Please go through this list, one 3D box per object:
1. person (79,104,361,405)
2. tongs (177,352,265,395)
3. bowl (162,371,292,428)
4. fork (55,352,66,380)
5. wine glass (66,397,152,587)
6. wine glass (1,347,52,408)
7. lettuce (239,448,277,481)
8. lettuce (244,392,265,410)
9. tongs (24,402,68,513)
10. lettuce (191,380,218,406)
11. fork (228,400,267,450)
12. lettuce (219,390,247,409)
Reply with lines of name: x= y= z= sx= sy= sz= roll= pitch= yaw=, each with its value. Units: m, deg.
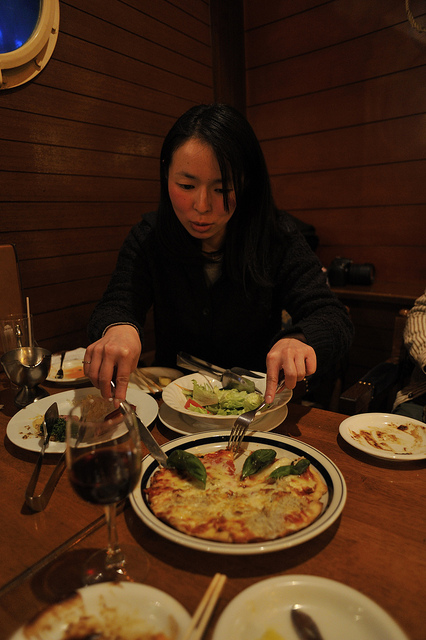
person: x=0.009 y=-0.245 z=1.703 sx=0.919 sy=0.990 sz=0.887 roll=-4 pitch=13 yaw=-12
tongs: x=0.025 y=0.167 z=1.398 sx=0.296 sy=0.073 sz=0.061 roll=21 pitch=24 yaw=-10
bowl: x=-0.004 y=0.215 z=1.245 sx=0.188 sy=0.050 sz=0.190 roll=0 pitch=11 yaw=0
fork: x=-0.549 y=0.161 z=1.661 sx=0.029 sy=0.019 sz=0.166 roll=1 pitch=24 yaw=-9
wine glass: x=-0.161 y=0.245 z=0.725 sx=0.104 sy=0.280 sz=0.356 roll=-4 pitch=12 yaw=-10
wine glass: x=-0.567 y=0.173 z=1.402 sx=0.140 sy=0.166 sz=0.093 roll=-8 pitch=14 yaw=-26
lettuce: x=0.091 y=0.289 z=0.918 sx=0.087 sy=0.013 sz=0.030 roll=-35 pitch=76 yaw=-20
lettuce: x=0.122 y=0.218 z=1.240 sx=0.034 sy=0.023 sz=0.040 roll=0 pitch=24 yaw=1
tongs: x=-0.375 y=0.285 z=1.012 sx=0.083 sy=0.087 sz=0.351 roll=-6 pitch=13 yaw=-19
lettuce: x=-0.022 y=0.206 z=1.264 sx=0.066 sy=0.052 sz=0.059 roll=-5 pitch=13 yaw=-14
fork: x=0.101 y=0.230 z=1.138 sx=0.036 sy=0.038 sz=0.277 roll=29 pitch=27 yaw=7
lettuce: x=0.055 y=0.215 z=1.239 sx=0.049 sy=0.019 sz=0.042 roll=-23 pitch=46 yaw=-15
